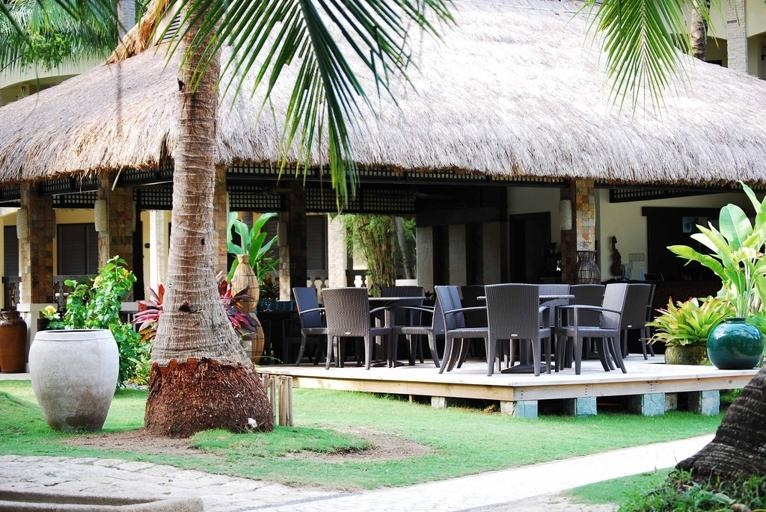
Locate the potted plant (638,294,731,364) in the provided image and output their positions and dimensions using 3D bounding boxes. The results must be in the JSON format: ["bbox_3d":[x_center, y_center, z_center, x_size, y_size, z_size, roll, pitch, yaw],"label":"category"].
[{"bbox_3d":[4.351,1.148,12.866,1.185,0.964,1.213,5,-10,-35],"label":"potted plant"}]

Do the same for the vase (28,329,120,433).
[{"bbox_3d":[-3.288,1.263,9.679,0.902,1.137,0.906,5,6,43],"label":"vase"}]
